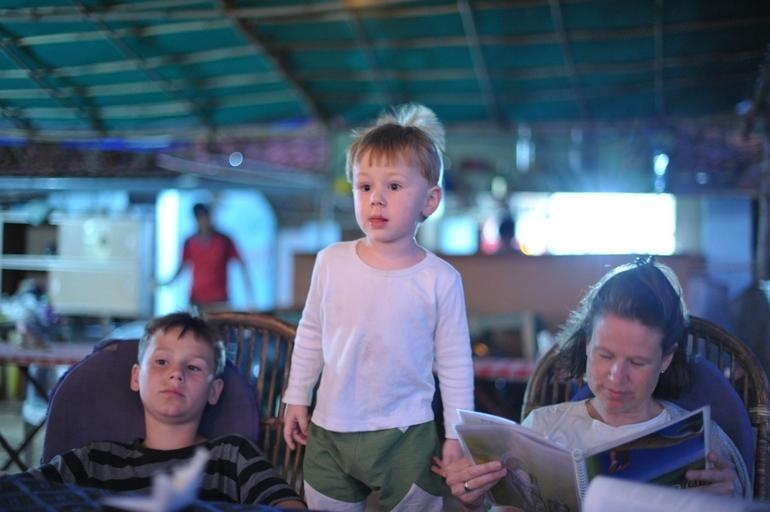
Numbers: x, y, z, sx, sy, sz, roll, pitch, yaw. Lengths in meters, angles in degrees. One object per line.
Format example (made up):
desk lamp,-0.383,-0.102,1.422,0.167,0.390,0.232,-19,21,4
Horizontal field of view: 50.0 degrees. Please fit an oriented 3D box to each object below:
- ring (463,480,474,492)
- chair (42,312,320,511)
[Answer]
ring,0.292,0.799,2.875,0.012,0.030,0.027,-18,-4,-30
chair,-0.759,0.583,3.044,0.694,0.442,0.261,4,-27,-3
